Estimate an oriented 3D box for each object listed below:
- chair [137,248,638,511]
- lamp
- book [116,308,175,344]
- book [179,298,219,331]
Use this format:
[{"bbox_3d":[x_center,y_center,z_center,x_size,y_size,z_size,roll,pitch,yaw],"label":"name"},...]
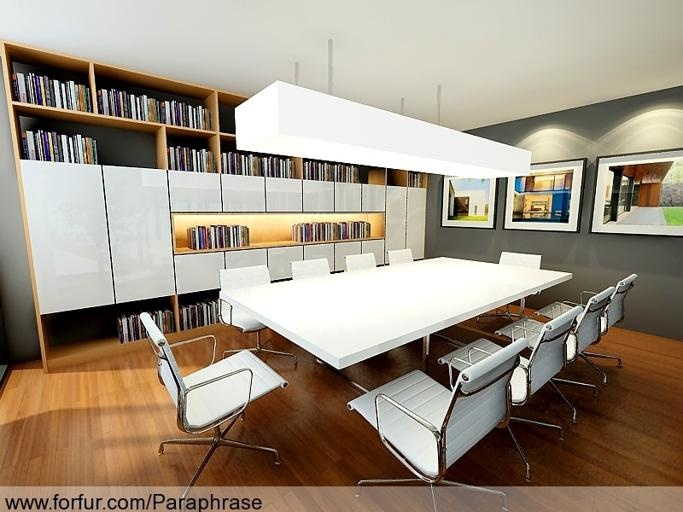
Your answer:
[{"bbox_3d":[0.295,1.078,4.185,3.788,1.499,2.344,-7,12,-28],"label":"chair"},{"bbox_3d":[0.730,-0.984,4.364,3.618,0.390,1.078,-1,10,-38],"label":"lamp"},{"bbox_3d":[-2.217,0.812,4.991,0.293,0.295,0.539,12,16,42],"label":"book"},{"bbox_3d":[-1.857,0.771,5.819,0.373,0.155,0.502,3,4,39],"label":"book"}]
